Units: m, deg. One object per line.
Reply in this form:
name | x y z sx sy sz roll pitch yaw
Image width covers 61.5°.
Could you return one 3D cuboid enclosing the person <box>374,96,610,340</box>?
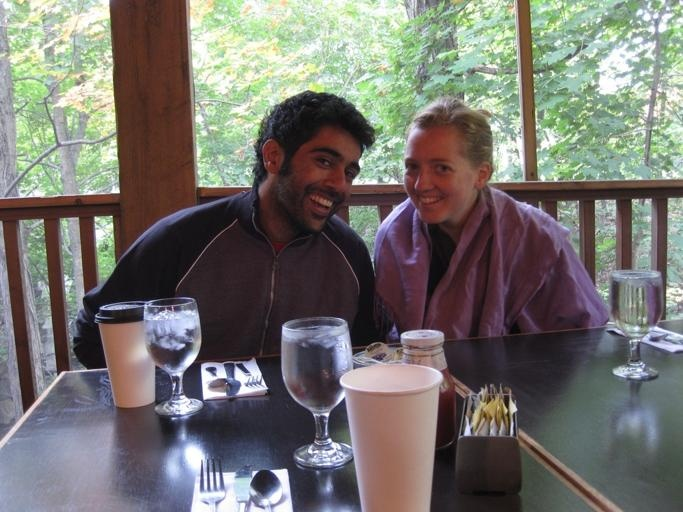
person | 0.509 -0.139 2.044 0.795 0.852 0.332 -2 2 -2
